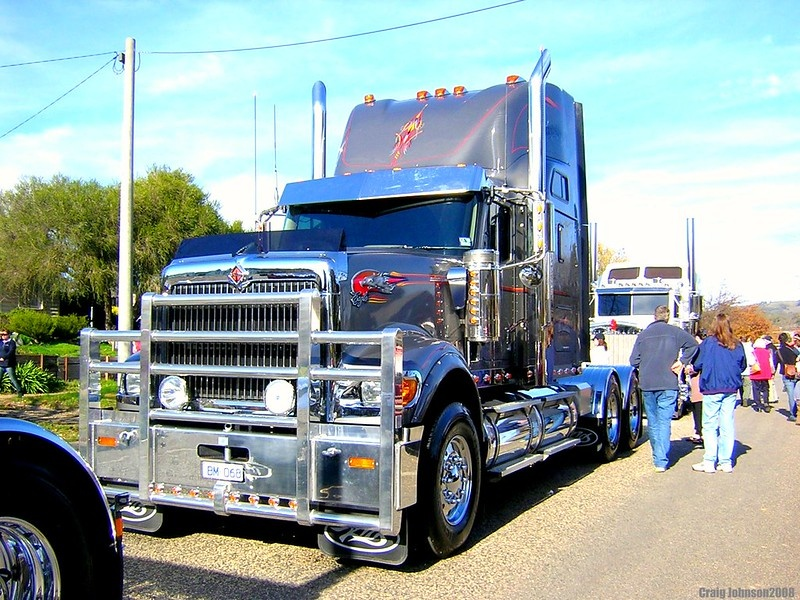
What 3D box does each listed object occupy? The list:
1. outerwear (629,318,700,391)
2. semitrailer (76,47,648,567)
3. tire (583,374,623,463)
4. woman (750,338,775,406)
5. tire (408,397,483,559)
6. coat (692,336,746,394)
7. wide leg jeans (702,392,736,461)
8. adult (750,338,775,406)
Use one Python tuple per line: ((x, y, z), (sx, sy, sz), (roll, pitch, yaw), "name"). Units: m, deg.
((3.753, 0.681, 10.514), (0.843, 1.042, 0.504), (8, 18, 38), "outerwear")
((-0.190, 0.506, 9.942), (3.108, 5.077, 8.298), (-3, -6, 29), "semitrailer")
((2.985, 1.634, 10.975), (0.363, 1.286, 1.204), (1, 15, 31), "tire")
((9.164, 1.883, 18.787), (0.490, 1.810, 1.354), (0, 0, 29), "woman")
((0.365, 1.526, 6.365), (0.407, 1.448, 1.158), (-4, -10, 28), "tire")
((4.511, 0.924, 10.627), (0.801, 1.094, 0.681), (1, -9, 19), "coat")
((4.392, 1.754, 10.210), (0.392, 0.937, 0.397), (0, 0, 23), "wide leg jeans")
((9.158, 1.883, 18.776), (0.490, 1.810, 1.330), (0, 0, 29), "adult")
